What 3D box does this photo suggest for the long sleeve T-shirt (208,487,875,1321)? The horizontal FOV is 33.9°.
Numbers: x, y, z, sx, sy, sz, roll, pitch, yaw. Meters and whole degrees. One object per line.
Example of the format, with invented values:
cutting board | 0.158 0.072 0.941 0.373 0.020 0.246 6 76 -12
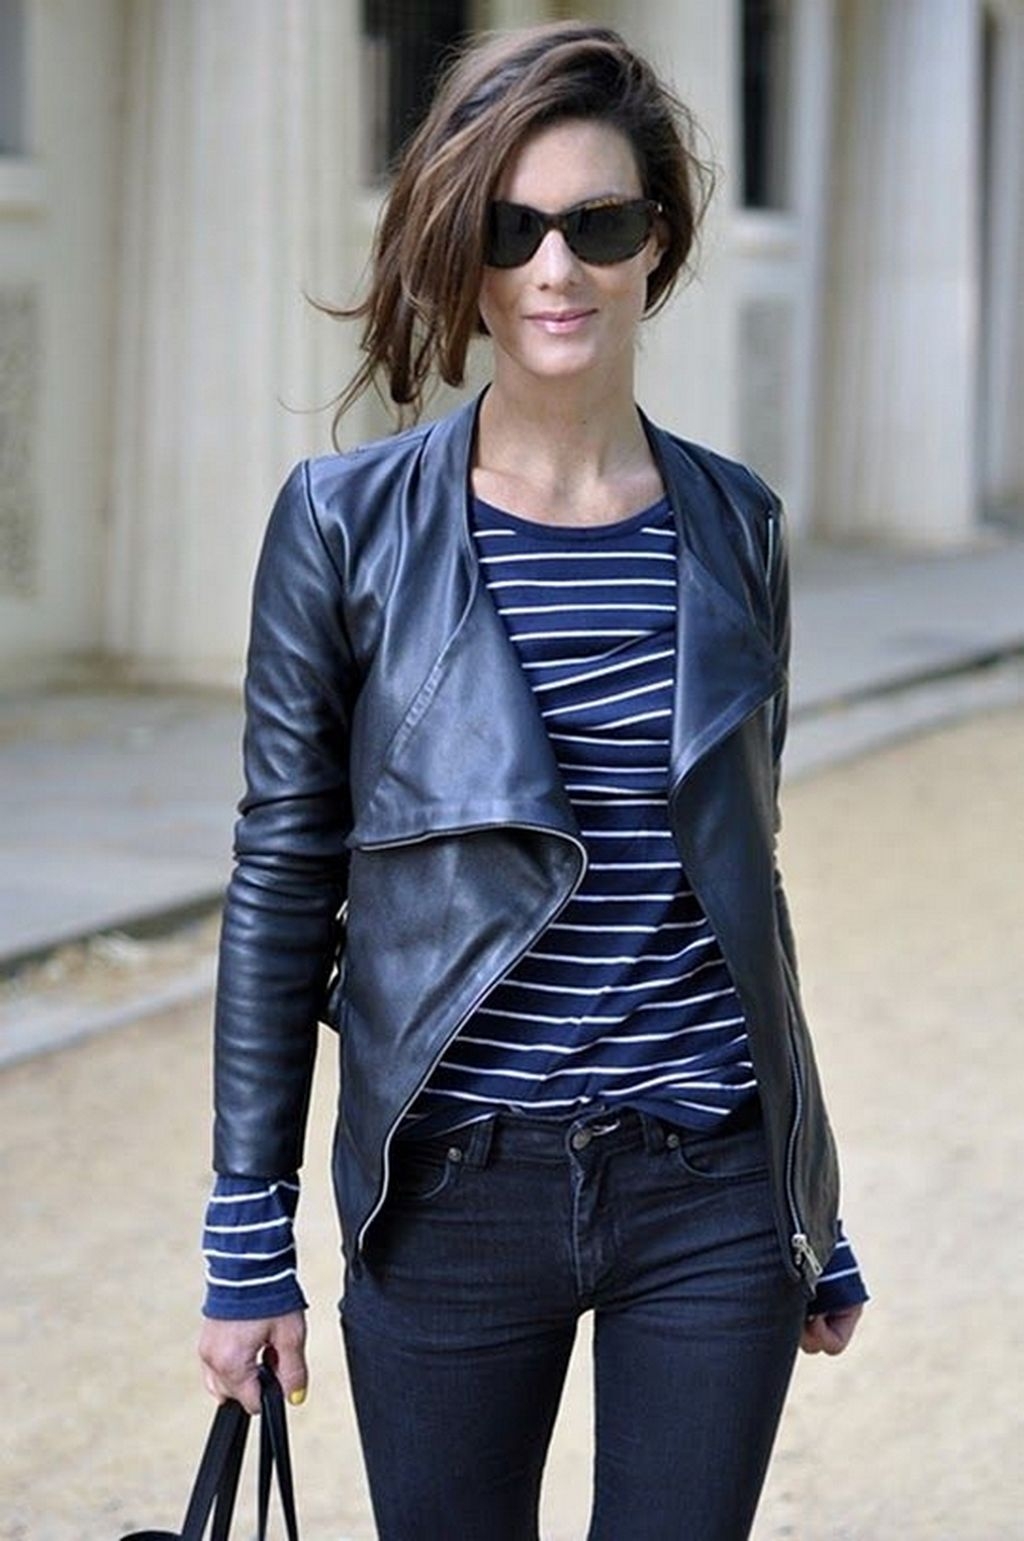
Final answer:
long sleeve T-shirt | 0.061 0.027 1.154 0.240 0.432 0.182 4 8 -12
